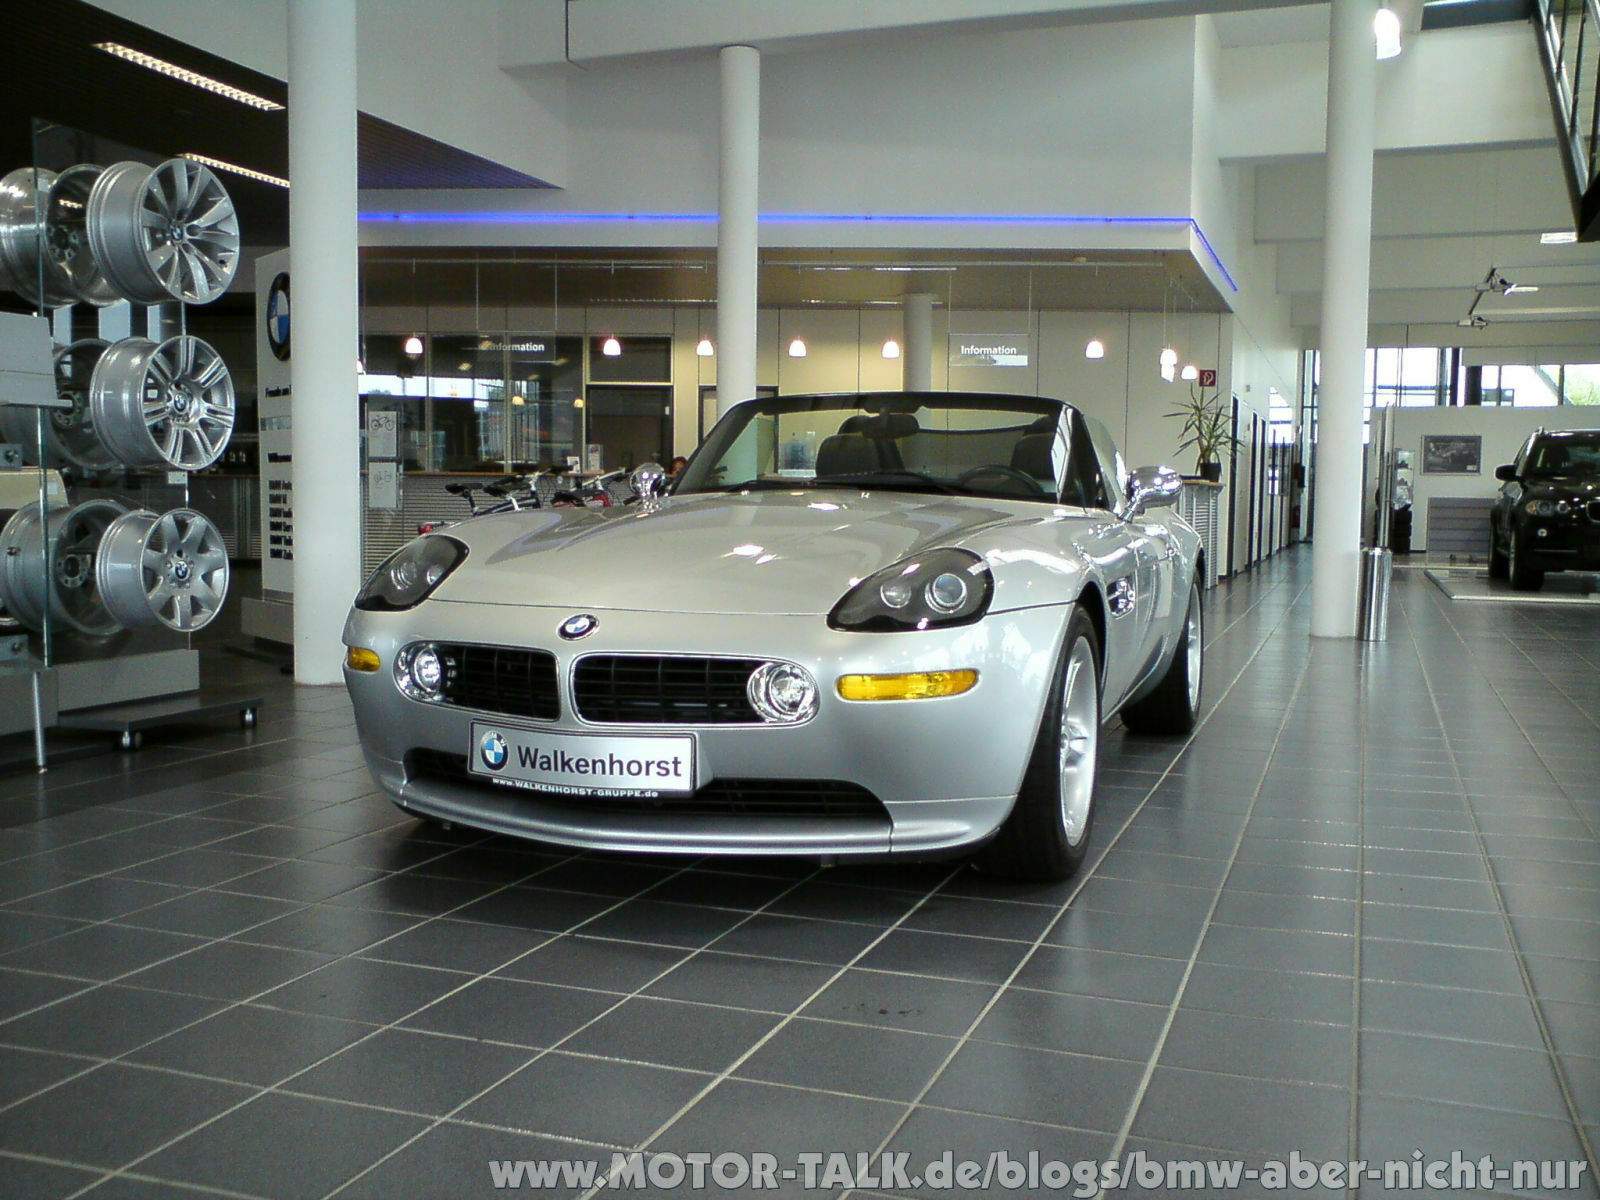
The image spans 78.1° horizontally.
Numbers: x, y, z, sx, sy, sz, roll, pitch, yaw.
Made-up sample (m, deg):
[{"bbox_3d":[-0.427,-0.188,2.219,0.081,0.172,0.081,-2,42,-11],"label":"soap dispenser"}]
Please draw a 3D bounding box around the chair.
[{"bbox_3d":[0.515,-0.513,3.553,0.405,0.282,0.636,6,3,30],"label":"chair"}]
